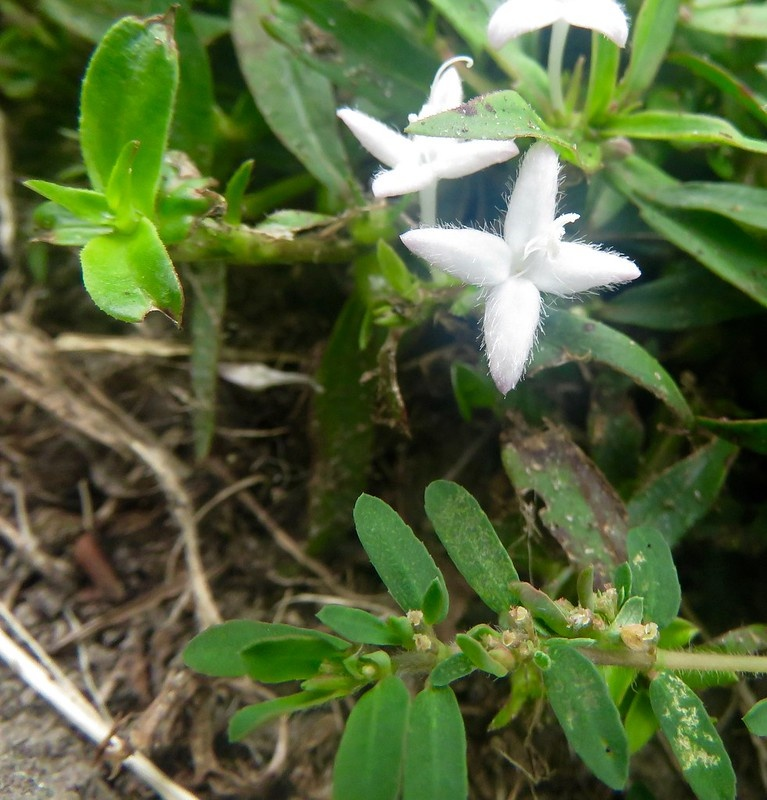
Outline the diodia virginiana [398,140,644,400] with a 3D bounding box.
[{"bbox_3d":[0.217,-0.209,1.337,0.265,0.280,0.270,41,46,22],"label":"diodia virginiana"}]
